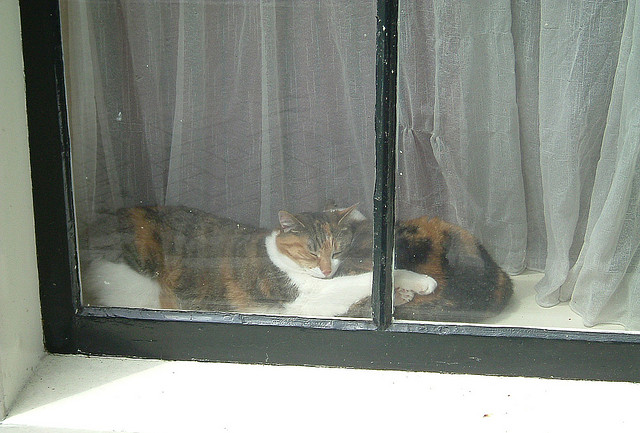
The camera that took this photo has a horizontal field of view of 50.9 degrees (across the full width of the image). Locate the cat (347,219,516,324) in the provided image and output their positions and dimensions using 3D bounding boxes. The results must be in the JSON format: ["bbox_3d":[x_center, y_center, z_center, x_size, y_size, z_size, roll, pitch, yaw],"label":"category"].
[{"bbox_3d":[0.411,0.159,2.271,0.381,0.226,0.678,-5,16,2],"label":"cat"}]

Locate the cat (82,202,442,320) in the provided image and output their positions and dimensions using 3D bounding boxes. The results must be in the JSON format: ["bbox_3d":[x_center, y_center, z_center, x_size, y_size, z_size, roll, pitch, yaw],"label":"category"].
[{"bbox_3d":[-0.278,0.093,2.179,1.248,0.374,0.356,4,27,20],"label":"cat"}]
